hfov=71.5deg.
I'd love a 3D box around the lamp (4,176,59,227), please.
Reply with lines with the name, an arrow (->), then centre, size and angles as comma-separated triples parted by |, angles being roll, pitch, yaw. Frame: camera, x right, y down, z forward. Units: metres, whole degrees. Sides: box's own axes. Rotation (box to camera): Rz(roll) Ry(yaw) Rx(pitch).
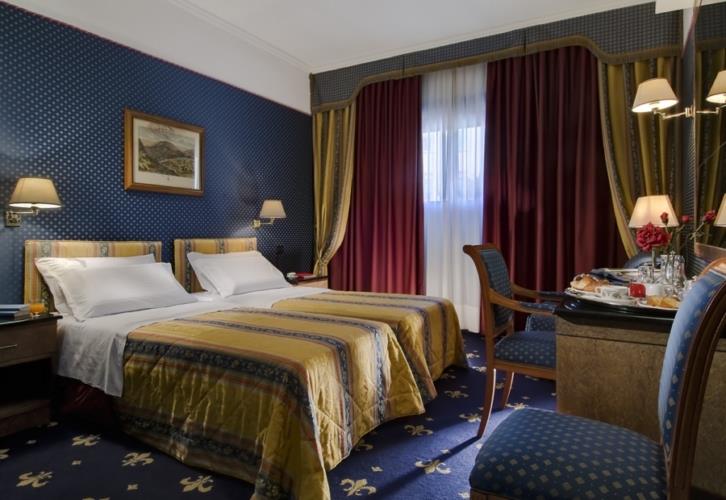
lamp -> -3.000, -0.406, 4.667 | 0.482, 0.482, 0.405 | -5, -4, 27

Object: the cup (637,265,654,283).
cup -> 2.049, 0.179, 3.680 | 0.105, 0.159, 0.110 | -1, 0, 0

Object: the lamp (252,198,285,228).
lamp -> -1.203, -0.472, 6.693 | 0.418, 0.415, 0.355 | -5, -3, 21

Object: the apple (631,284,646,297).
apple -> 1.796, 0.266, 3.304 | 0.089, 0.085, 0.069 | 2, 3, 28

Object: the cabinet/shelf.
cabinet/shelf -> 1.582, 0.836, 2.835 | 0.597, 1.188, 1.148 | 1, 1, 28

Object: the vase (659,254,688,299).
vase -> 2.166, 0.141, 3.521 | 0.227, 0.266, 0.244 | -3, 7, 37

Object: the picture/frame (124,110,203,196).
picture/frame -> -2.250, -1.065, 5.590 | 0.069, 1.068, 1.012 | 1, 0, 42
